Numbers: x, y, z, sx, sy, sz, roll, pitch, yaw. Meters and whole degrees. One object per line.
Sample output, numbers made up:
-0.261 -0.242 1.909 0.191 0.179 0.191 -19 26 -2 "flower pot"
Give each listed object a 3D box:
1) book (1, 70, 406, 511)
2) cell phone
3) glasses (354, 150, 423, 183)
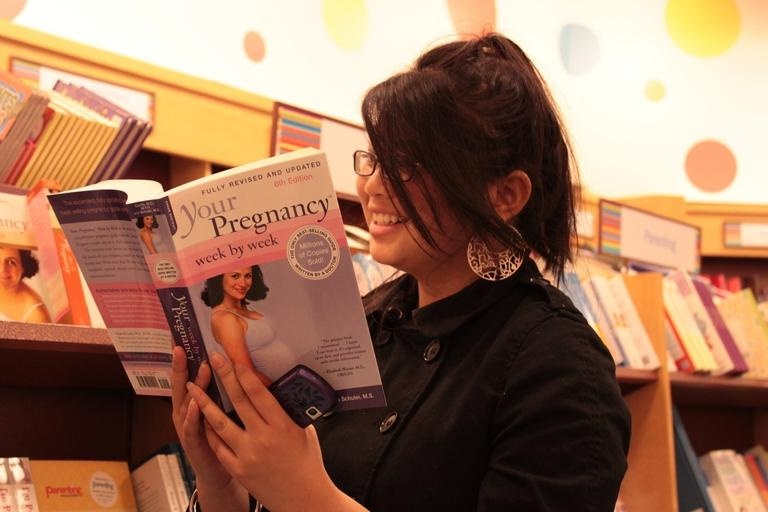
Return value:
-0.266 0.044 1.190 0.645 0.593 0.228 -7 28 20 "book"
-0.218 0.303 1.176 0.231 0.121 0.053 -12 -37 -42 "cell phone"
-0.011 -0.221 1.462 0.114 0.037 0.114 6 -6 43 "glasses"
